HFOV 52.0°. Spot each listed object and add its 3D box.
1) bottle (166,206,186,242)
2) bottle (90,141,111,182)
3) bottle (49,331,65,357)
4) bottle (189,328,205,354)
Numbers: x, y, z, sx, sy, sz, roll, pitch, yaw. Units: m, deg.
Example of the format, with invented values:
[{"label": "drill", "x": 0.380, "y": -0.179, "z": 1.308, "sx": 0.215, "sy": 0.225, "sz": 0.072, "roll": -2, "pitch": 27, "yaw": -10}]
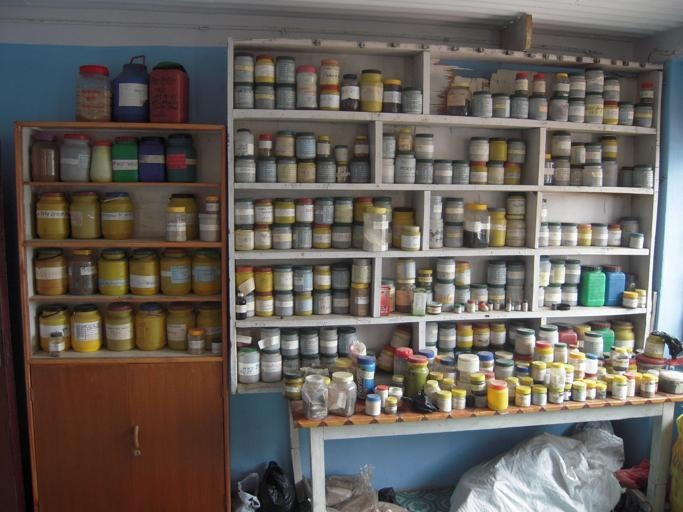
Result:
[{"label": "bottle", "x": -1.039, "y": -0.202, "z": 4.376, "sx": 0.112, "sy": 0.223, "sz": 0.056, "roll": -4, "pitch": 4, "yaw": -17}, {"label": "bottle", "x": -1.500, "y": -0.583, "z": 4.330, "sx": 0.141, "sy": 0.265, "sz": 0.096, "roll": -4, "pitch": 4, "yaw": -13}, {"label": "bottle", "x": -1.780, "y": 0.541, "z": 4.346, "sx": 0.102, "sy": 0.145, "sz": 0.082, "roll": -4, "pitch": 4, "yaw": -18}, {"label": "bottle", "x": -0.921, "y": 0.534, "z": 4.403, "sx": 0.102, "sy": 0.156, "sz": 0.063, "roll": -4, "pitch": 4, "yaw": -10}]
